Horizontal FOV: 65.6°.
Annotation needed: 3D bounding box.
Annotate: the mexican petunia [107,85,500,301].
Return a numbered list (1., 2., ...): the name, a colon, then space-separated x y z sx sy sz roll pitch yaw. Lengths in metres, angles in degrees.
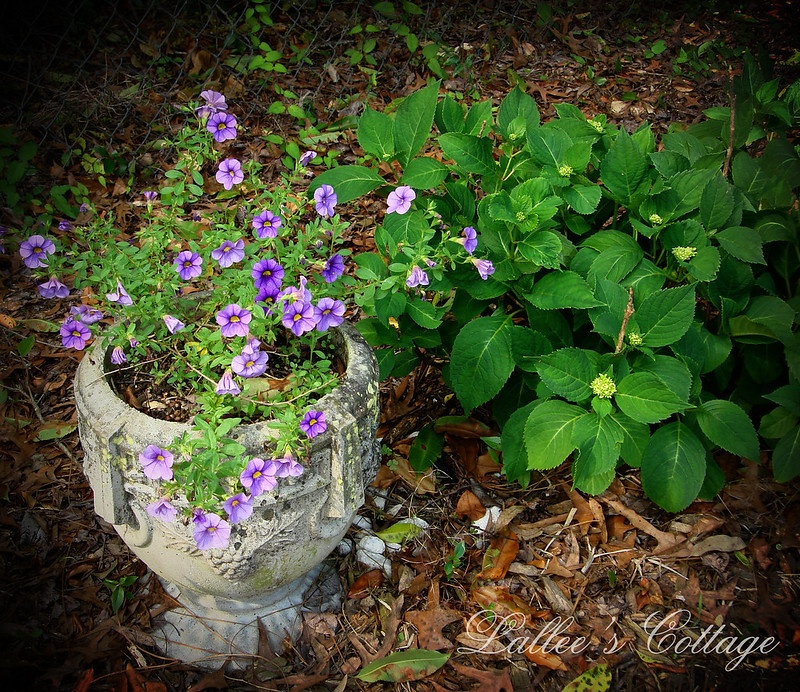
1. mexican petunia: -0.445 -0.645 2.659 1.391 0.579 1.212 12 65 1

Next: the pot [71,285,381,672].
1. pot: -0.550 0.559 2.192 0.948 0.862 0.851 6 18 10
